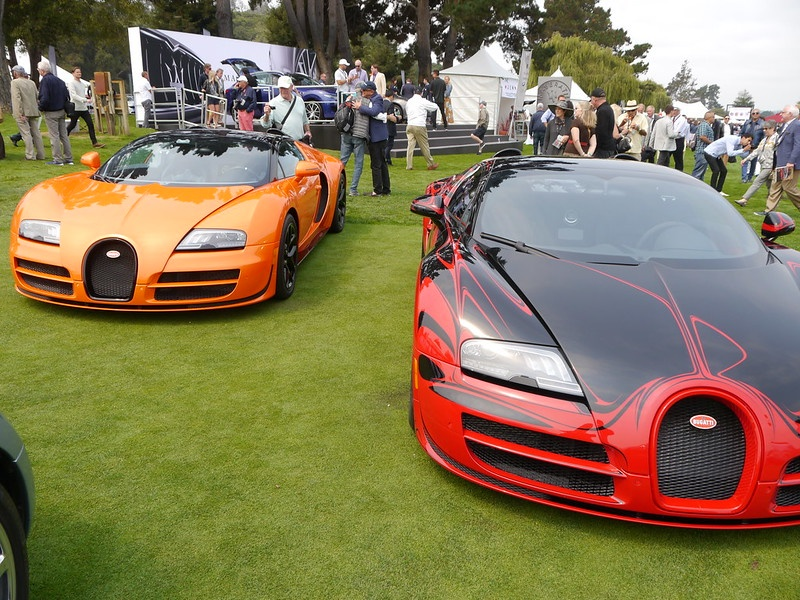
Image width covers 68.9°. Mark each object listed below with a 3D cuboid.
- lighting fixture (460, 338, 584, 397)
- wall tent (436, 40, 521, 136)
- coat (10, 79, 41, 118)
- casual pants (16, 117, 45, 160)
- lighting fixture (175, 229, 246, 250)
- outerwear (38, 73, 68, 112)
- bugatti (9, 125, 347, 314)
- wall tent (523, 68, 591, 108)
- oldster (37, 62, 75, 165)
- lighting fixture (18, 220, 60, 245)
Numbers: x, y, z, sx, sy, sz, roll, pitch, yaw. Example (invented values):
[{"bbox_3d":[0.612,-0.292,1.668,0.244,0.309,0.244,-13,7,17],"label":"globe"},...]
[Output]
[{"bbox_3d":[0.601,0.323,2.865,0.413,0.154,0.281,21,-8,-23],"label":"lighting fixture"},{"bbox_3d":[3.358,-11.599,29.737,3.980,3.877,4.207,24,16,-16],"label":"wall tent"},{"bbox_3d":[-7.868,-4.176,12.169,0.482,0.814,0.442,-9,20,-30],"label":"coat"},{"bbox_3d":[-8.125,-3.643,12.694,0.358,1.336,0.281,-12,2,-45],"label":"casual pants"},{"bbox_3d":[-1.592,-0.497,4.920,0.314,0.124,0.251,0,16,-10],"label":"lighting fixture"},{"bbox_3d":[-7.179,-4.243,12.002,0.568,0.765,0.427,-11,21,-36],"label":"outerwear"},{"bbox_3d":[-2.050,-0.769,6.091,1.730,0.931,3.126,3,18,1],"label":"bugatti"},{"bbox_3d":[5.810,-8.520,23.003,1.984,2.089,0.662,-22,7,-43],"label":"wall tent"},{"bbox_3d":[-7.365,-3.889,12.308,0.638,2.086,0.687,9,14,26],"label":"oldster"},{"bbox_3d":[-3.074,-0.582,4.978,0.367,0.245,0.103,3,-2,5],"label":"lighting fixture"}]
